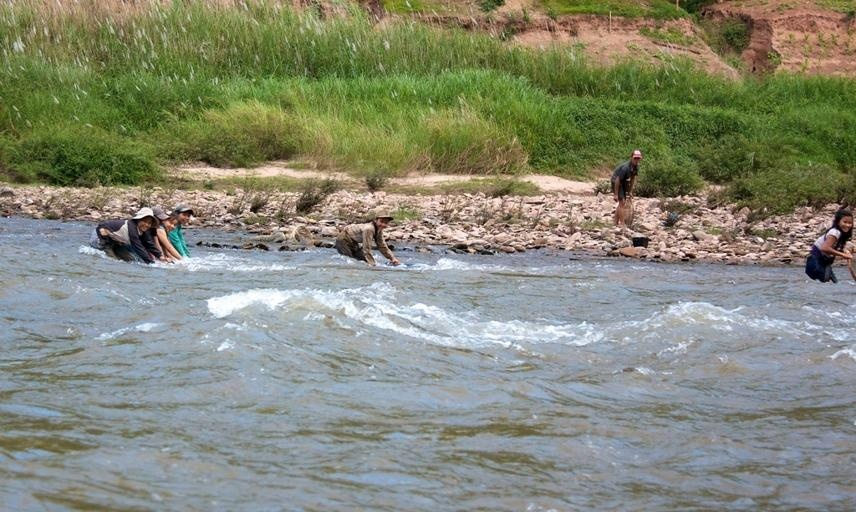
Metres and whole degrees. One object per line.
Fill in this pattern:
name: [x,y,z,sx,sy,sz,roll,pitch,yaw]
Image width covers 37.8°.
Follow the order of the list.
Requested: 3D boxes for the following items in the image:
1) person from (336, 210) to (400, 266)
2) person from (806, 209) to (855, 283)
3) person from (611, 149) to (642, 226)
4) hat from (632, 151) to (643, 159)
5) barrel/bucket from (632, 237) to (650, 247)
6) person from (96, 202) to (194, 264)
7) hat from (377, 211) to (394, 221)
person: [-1.486,-0.468,29.559,1.444,1.216,0.769,9,14,39]
person: [9.673,-0.178,30.018,1.140,2.206,0.724,8,38,10]
person: [5.154,-1.803,32.928,0.676,2.024,0.964,1,12,7]
hat: [5.404,-2.632,32.477,0.315,0.197,0.407,9,6,-4]
barrel/bucket: [5.318,-0.370,31.444,0.293,0.169,0.273,-2,8,0]
person: [-6.672,-0.474,28.588,1.849,1.183,0.777,-2,12,-13]
hat: [-1.105,-0.942,29.511,0.373,0.264,0.521,-1,10,-5]
